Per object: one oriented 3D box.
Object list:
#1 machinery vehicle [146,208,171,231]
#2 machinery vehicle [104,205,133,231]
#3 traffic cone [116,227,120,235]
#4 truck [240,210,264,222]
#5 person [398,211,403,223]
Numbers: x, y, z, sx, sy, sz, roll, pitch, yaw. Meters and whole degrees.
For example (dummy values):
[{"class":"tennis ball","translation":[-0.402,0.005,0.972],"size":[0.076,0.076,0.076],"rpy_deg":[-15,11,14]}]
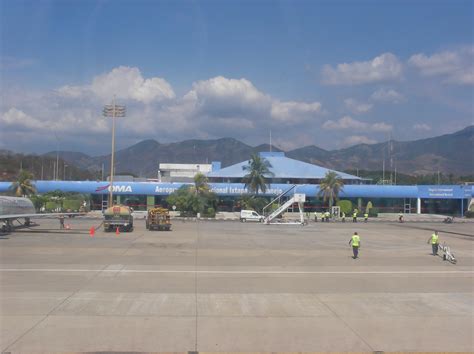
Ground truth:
[{"class":"machinery vehicle","translation":[-8.315,4.193,71.698],"size":[2.565,2.072,4.683],"rpy_deg":[1,5,-14]},{"class":"machinery vehicle","translation":[-12.454,4.206,70.280],"size":[2.704,2.533,4.933],"rpy_deg":[0,0,-5]},{"class":"traffic cone","translation":[-11.920,5.396,67.093],"size":[0.595,0.875,0.629],"rpy_deg":[2,-4,-10]},{"class":"truck","translation":[1.834,5.207,88.787],"size":[2.609,1.142,1.475],"rpy_deg":[-2,2,-1]},{"class":"person","translation":[22.889,5.670,94.183],"size":[0.600,0.549,1.364],"rpy_deg":[-7,23,11]}]
